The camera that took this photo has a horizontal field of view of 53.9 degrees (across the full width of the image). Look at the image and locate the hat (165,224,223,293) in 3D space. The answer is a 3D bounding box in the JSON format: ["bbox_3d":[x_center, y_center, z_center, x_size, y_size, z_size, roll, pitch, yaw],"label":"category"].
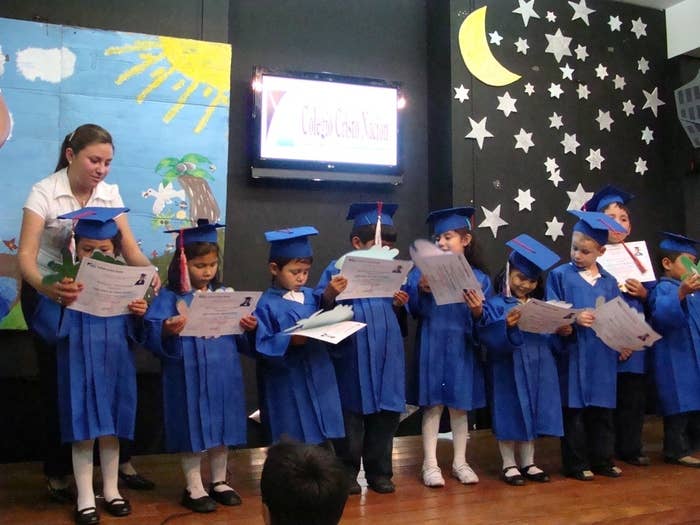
[{"bbox_3d":[-0.820,-0.026,3.489,0.312,0.379,0.322,6,5,41],"label":"hat"}]

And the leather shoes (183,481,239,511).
[{"bbox_3d":[-0.686,1.167,3.463,0.259,0.135,0.208,0,0,-41],"label":"leather shoes"}]

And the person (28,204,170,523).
[{"bbox_3d":[-1.226,0.466,3.377,0.509,1.558,0.654,0,0,-45],"label":"person"}]

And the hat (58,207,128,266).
[{"bbox_3d":[-1.267,-0.155,3.452,0.348,0.268,0.298,0,3,-5],"label":"hat"}]

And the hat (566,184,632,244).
[{"bbox_3d":[1.682,-0.269,4.481,0.430,0.434,0.162,-9,-14,29],"label":"hat"}]

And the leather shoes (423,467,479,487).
[{"bbox_3d":[0.561,1.170,3.823,0.338,0.087,0.231,0,0,-8],"label":"leather shoes"}]

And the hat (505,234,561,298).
[{"bbox_3d":[1.043,0.035,3.995,0.280,0.292,0.261,21,19,-1],"label":"hat"}]

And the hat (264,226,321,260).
[{"bbox_3d":[-0.331,-0.092,3.682,0.287,0.149,0.202,-5,13,-13],"label":"hat"}]

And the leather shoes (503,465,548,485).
[{"bbox_3d":[0.955,1.169,3.812,0.223,0.081,0.193,0,-1,-35],"label":"leather shoes"}]

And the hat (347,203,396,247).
[{"bbox_3d":[0.141,-0.192,3.862,0.232,0.266,0.265,3,-4,-23],"label":"hat"}]

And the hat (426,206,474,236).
[{"bbox_3d":[0.596,-0.271,3.999,0.207,0.104,0.217,-10,3,-41],"label":"hat"}]

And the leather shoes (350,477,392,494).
[{"bbox_3d":[0.098,1.173,3.647,0.256,0.070,0.134,0,0,-19],"label":"leather shoes"}]
